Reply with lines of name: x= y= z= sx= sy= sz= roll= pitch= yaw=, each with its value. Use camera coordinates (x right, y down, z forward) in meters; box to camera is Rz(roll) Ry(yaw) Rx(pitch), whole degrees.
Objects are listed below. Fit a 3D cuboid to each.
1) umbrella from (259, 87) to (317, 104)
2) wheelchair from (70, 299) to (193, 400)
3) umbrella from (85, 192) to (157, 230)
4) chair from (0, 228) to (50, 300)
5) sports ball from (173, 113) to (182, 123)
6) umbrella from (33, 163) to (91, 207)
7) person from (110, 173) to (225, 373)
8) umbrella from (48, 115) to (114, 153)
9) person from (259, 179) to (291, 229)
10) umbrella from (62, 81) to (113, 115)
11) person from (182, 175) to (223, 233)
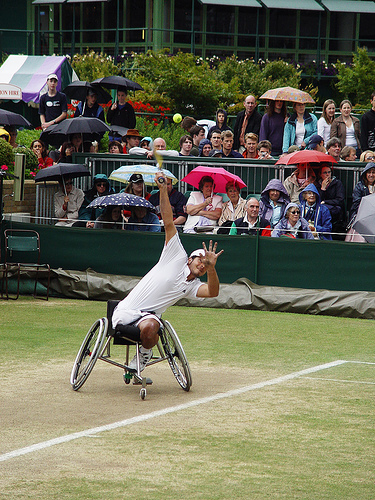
umbrella: x=1.700 y=-2.599 z=17.833 sx=0.662 sy=0.331 sz=1.082 roll=0 pitch=3 yaw=-10
wheelchair: x=-0.467 y=1.068 z=9.804 sx=0.814 sy=1.021 sz=1.536 roll=0 pitch=13 yaw=-16
umbrella: x=-0.930 y=-0.552 z=15.789 sx=0.883 sy=0.508 sz=0.856 roll=-7 pitch=5 yaw=-30
chair: x=-2.481 y=0.210 z=16.190 sx=0.754 sy=1.059 sz=0.966 roll=0 pitch=3 yaw=-7
sports ball: x=-0.227 y=-3.256 z=26.180 sx=0.194 sy=0.217 sz=0.189 roll=3 pitch=-37 yaw=2
umbrella: x=-2.040 y=-1.058 z=17.148 sx=0.736 sy=0.698 sz=0.980 roll=2 pitch=3 yaw=19
person: x=-0.176 y=0.324 z=9.687 sx=1.028 sy=1.802 sz=0.693 roll=23 pitch=-5 yaw=-10
umbrella: x=-1.855 y=-2.133 z=18.277 sx=1.009 sy=0.313 sz=0.655 roll=0 pitch=3 yaw=-8
person: x=1.284 y=-0.530 z=16.121 sx=0.560 sy=1.098 sz=0.359 roll=0 pitch=-31 yaw=8
umbrella: x=-1.968 y=-2.921 z=21.026 sx=0.737 sy=0.748 sz=0.713 roll=3 pitch=15 yaw=9
person: x=0.228 y=-0.452 z=16.541 sx=0.512 sy=1.346 sz=0.464 roll=7 pitch=2 yaw=16
